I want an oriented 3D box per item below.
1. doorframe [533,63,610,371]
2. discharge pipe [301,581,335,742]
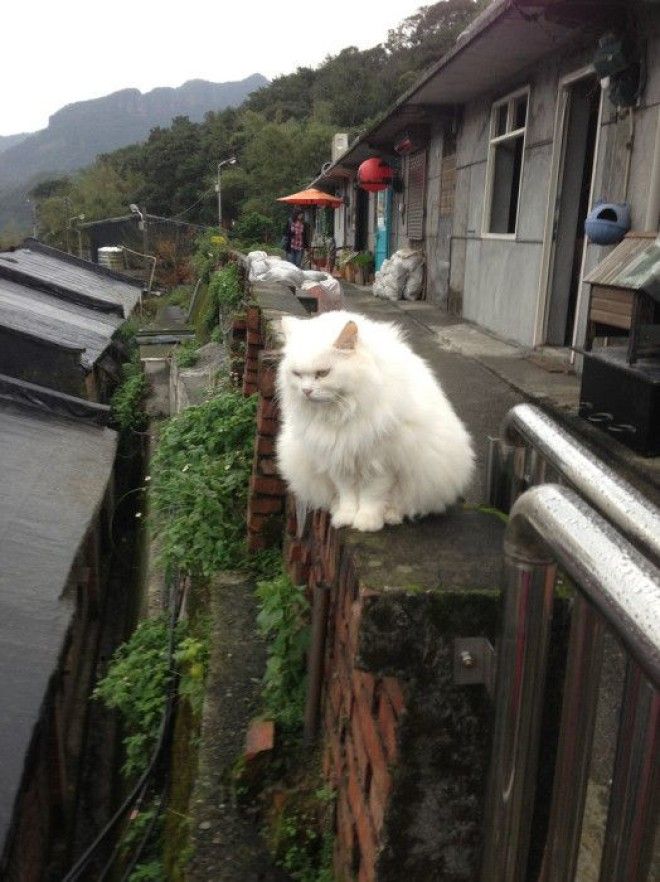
[{"bbox_3d":[2.616,-2.340,6.745,0.629,2.651,0.385,-15,22,-34],"label":"doorframe"},{"bbox_3d":[-0.043,0.739,2.144,0.112,0.593,0.124,-3,18,-2],"label":"discharge pipe"}]
